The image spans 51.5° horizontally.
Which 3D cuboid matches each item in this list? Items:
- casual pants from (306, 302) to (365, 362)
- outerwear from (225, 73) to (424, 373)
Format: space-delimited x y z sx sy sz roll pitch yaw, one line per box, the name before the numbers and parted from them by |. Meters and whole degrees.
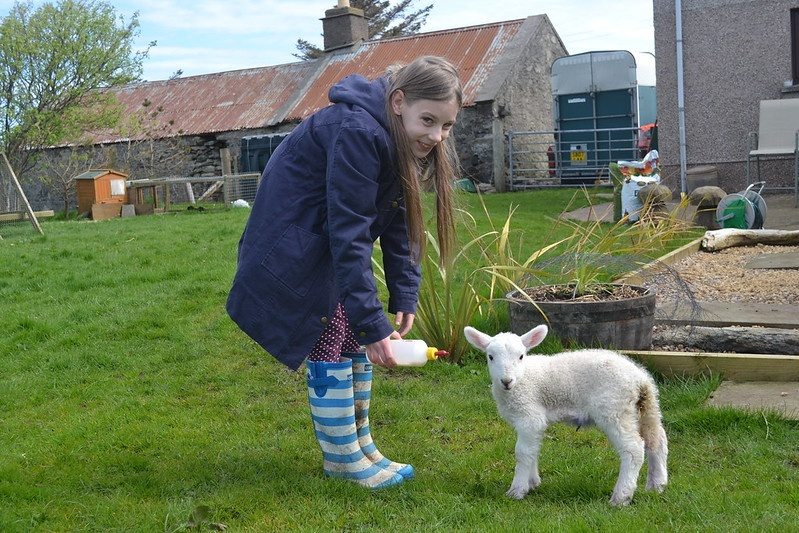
casual pants | -0.464 0.503 6.398 0.375 0.683 0.499 1 6 6
outerwear | -0.519 -0.418 6.495 1.423 2.224 1.369 11 15 6
